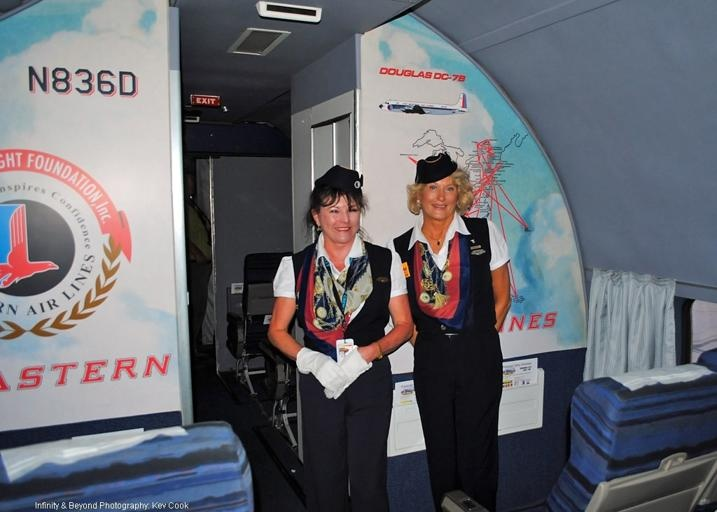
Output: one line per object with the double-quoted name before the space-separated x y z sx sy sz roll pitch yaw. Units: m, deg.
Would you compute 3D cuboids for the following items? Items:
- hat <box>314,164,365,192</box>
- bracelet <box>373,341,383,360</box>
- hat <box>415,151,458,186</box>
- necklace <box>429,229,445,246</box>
"hat" -0.086 -0.436 3.404 0.152 0.084 0.211 18 8 29
"bracelet" 0.117 0.547 3.338 0.036 0.081 0.064 -7 4 -13
"hat" 0.518 -0.610 3.949 0.418 0.144 0.419 -11 0 9
"necklace" 0.521 -0.122 3.840 0.068 0.106 0.036 0 -16 14
